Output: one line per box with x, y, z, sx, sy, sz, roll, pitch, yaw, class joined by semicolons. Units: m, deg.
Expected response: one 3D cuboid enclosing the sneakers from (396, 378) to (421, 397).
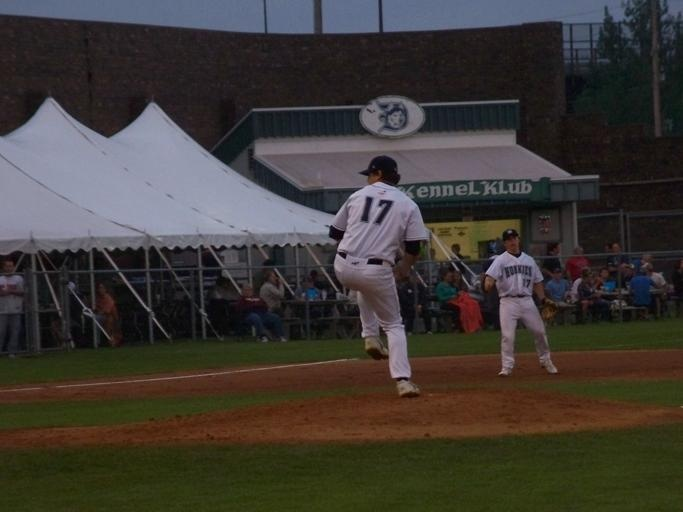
1.558;3.138;37.981;0.280;0.306;0.610;-1;0;10;sneakers

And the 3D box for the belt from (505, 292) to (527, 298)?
4.422;1.039;40.803;0.468;0.123;0.040;6;13;3;belt

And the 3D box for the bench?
6.155;1.727;48.791;8.511;1.398;0.401;-1;-11;-5;bench

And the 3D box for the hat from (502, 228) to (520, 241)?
4.261;-0.505;41.116;0.282;0.230;0.423;-9;-4;-3;hat

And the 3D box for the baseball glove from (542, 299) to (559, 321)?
5.384;1.410;41.664;0.509;0.722;0.318;2;-2;15;baseball glove

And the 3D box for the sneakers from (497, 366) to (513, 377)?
4.143;2.969;40.606;0.151;0.208;0.470;1;-8;25;sneakers
